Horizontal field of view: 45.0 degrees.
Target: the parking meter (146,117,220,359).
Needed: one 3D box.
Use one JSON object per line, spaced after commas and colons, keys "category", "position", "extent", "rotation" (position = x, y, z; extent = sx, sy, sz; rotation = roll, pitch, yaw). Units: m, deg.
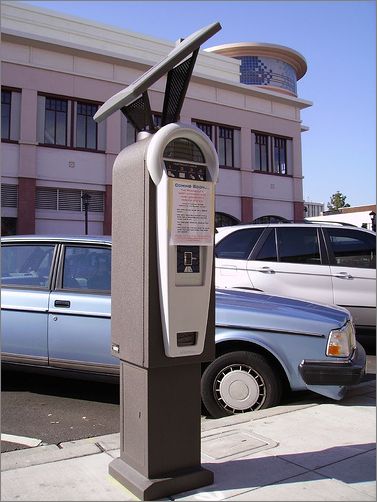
{"category": "parking meter", "position": [-0.019, -0.048, 2.169], "extent": [0.410, 1.124, 0.162], "rotation": [4, -8, -38]}
